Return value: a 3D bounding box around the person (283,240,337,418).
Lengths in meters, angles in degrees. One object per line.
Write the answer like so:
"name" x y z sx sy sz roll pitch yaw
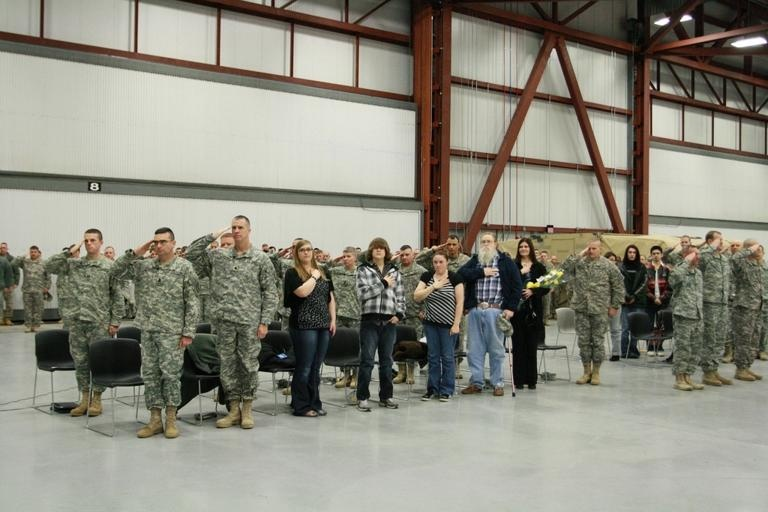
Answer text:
"person" -1.158 1.099 12.623 0.537 2.676 0.782 -6 -8 39

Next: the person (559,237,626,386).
"person" 3.774 0.981 14.784 1.034 2.576 0.504 -2 -7 12

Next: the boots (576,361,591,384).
"boots" 3.613 2.086 14.781 0.400 0.377 0.272 1 -7 -15

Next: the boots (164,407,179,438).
"boots" -3.057 2.379 11.892 0.202 0.426 0.361 1 -7 -15

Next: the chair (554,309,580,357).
"chair" 3.599 1.463 16.167 0.479 0.781 0.504 13 -12 -4

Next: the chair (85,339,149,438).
"chair" -3.831 1.880 11.998 0.839 1.300 0.791 2 -1 -35

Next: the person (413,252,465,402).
"person" 0.943 1.162 13.383 0.758 2.354 0.699 0 -7 0

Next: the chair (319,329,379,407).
"chair" -0.507 1.773 13.228 0.828 1.253 0.773 -2 -14 45

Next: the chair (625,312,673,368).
"chair" 5.443 1.551 16.563 0.550 0.844 0.610 -11 -3 4

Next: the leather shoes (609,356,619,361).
"leather shoes" 4.751 2.080 16.871 0.155 0.102 0.082 2 -2 17

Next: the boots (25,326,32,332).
"boots" -8.343 1.708 19.319 0.121 0.153 0.351 3 -13 -26

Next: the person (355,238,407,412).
"person" -0.059 1.063 12.981 0.756 2.695 0.597 1 -7 -13

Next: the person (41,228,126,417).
"person" -4.617 0.997 12.687 1.124 2.748 0.787 0 -14 -17

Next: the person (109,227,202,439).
"person" -3.261 1.106 12.004 1.037 2.985 0.682 -7 -9 43

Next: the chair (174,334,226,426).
"chair" -2.649 1.837 12.478 0.598 1.034 0.649 -19 -11 32

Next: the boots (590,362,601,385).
"boots" 3.794 2.086 14.725 0.170 0.365 0.303 -3 -7 21

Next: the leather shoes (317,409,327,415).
"leather shoes" -0.938 2.397 12.683 0.120 0.040 0.071 -3 -2 34

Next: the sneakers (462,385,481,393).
"sneakers" 1.490 2.243 13.932 0.367 0.156 0.129 3 -6 -15

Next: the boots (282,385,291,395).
"boots" -1.610 2.228 13.772 0.130 0.073 0.133 3 3 15

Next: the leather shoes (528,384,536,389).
"leather shoes" 2.578 2.250 14.272 0.130 0.085 0.159 -1 -6 8

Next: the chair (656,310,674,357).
"chair" 5.757 1.431 16.792 0.342 0.459 0.632 -5 -40 11

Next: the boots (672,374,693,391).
"boots" 5.210 2.204 14.314 0.320 0.318 0.173 -4 -9 38

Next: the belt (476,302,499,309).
"belt" 1.767 0.807 13.698 0.335 0.091 0.042 -1 -7 5

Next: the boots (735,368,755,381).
"boots" 6.646 2.172 15.131 0.356 0.209 0.307 -3 -7 22

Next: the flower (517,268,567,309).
"flower" 2.804 0.505 14.371 0.550 0.359 0.554 -16 26 -6

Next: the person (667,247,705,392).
"person" 5.314 1.077 14.377 0.527 2.468 0.409 -2 -7 13

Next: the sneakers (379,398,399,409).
"sneakers" 0.090 2.339 13.139 0.279 0.121 0.132 -2 -4 26

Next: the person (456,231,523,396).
"person" 1.785 0.965 13.756 1.026 2.685 0.601 -1 -7 6
